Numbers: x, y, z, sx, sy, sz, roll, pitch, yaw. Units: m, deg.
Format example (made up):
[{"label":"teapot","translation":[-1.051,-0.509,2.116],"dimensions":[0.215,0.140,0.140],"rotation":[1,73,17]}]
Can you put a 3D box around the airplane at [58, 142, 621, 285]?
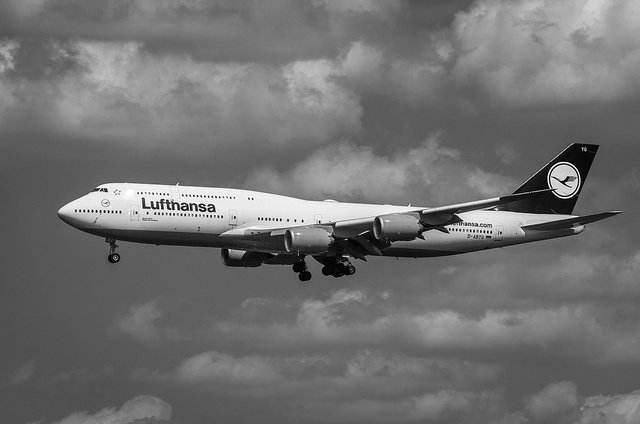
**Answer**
[{"label":"airplane","translation":[0.404,0.437,41.018],"dimensions":[34.254,5.943,9.263],"rotation":[1,-1,-9]}]
